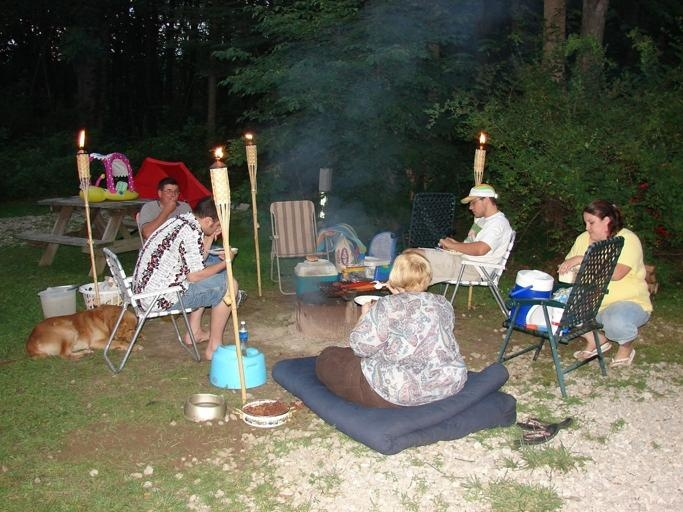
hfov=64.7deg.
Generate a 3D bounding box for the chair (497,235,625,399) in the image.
[{"bbox_3d":[2.168,0.464,5.318,0.986,1.508,0.888,-15,25,-37],"label":"chair"}]

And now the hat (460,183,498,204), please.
[{"bbox_3d":[1.728,-0.787,6.780,0.416,0.191,0.254,1,6,10],"label":"hat"}]

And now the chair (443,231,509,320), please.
[{"bbox_3d":[1.731,0.237,6.929,0.880,0.997,0.758,0,10,2],"label":"chair"}]

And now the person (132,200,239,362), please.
[{"bbox_3d":[-1.661,0.318,5.668,1.296,1.778,0.937,-10,41,-31],"label":"person"}]

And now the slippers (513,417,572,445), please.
[{"bbox_3d":[1.660,1.449,4.484,0.296,0.081,0.212,-2,20,-7],"label":"slippers"}]

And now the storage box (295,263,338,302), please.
[{"bbox_3d":[-0.355,0.305,7.327,0.591,0.492,0.417,-3,18,-10],"label":"storage box"}]

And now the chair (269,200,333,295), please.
[{"bbox_3d":[-0.688,-0.125,8.180,1.095,1.183,1.047,23,26,31],"label":"chair"}]

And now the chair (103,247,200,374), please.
[{"bbox_3d":[-1.989,0.473,5.634,1.066,1.027,0.983,2,15,-5],"label":"chair"}]

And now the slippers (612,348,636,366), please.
[{"bbox_3d":[2.955,1.046,5.633,0.302,0.070,0.136,-12,5,-39],"label":"slippers"}]

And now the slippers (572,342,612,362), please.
[{"bbox_3d":[2.689,1.021,5.727,0.462,0.104,0.214,-11,9,3],"label":"slippers"}]

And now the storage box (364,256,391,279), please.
[{"bbox_3d":[0.427,0.156,6.668,0.249,0.202,0.320,2,3,18],"label":"storage box"}]

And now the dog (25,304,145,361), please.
[{"bbox_3d":[-2.717,0.779,5.708,1.069,0.434,0.595,-5,5,-23],"label":"dog"}]

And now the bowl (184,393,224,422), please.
[{"bbox_3d":[-1.207,1.318,4.726,0.355,0.142,0.257,-4,19,-13],"label":"bowl"}]

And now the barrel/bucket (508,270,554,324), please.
[{"bbox_3d":[1.891,0.417,5.363,0.427,0.537,0.448,9,13,-2],"label":"barrel/bucket"}]

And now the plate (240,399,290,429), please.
[{"bbox_3d":[-0.669,1.356,4.692,0.471,0.124,0.286,-1,18,-3],"label":"plate"}]
